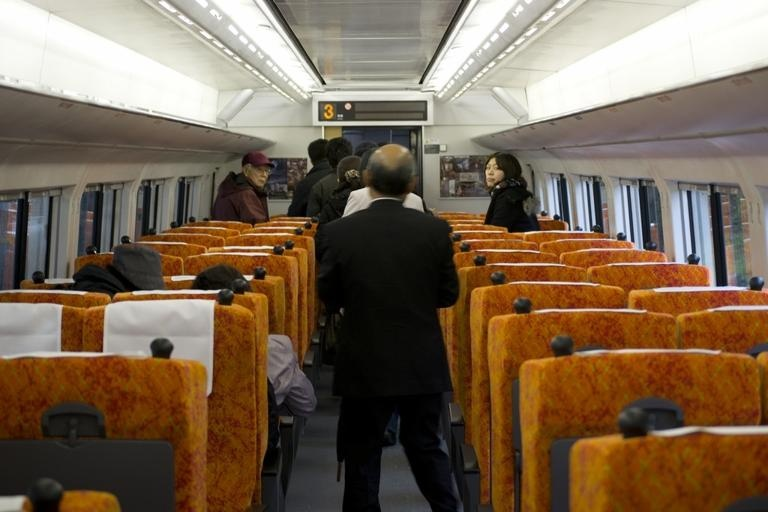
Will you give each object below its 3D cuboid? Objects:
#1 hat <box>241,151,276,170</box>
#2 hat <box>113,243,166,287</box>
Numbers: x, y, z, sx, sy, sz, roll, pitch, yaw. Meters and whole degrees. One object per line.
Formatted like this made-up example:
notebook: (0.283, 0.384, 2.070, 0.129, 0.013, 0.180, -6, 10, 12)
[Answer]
hat: (-2.268, -1.704, 9.504, 0.529, 0.286, 0.395, -6, 7, 6)
hat: (-1.939, 0.078, 4.167, 0.420, 0.336, 0.187, 3, 2, 9)
